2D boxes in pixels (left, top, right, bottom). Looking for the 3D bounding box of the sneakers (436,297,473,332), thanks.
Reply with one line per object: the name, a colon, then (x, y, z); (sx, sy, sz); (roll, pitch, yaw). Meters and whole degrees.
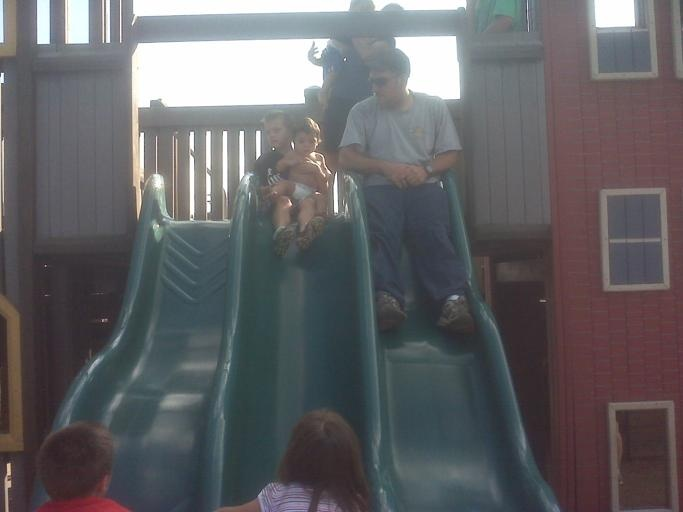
sneakers: (0.620, 0.355, 5.367); (0.109, 0.179, 0.252); (5, -29, -7)
